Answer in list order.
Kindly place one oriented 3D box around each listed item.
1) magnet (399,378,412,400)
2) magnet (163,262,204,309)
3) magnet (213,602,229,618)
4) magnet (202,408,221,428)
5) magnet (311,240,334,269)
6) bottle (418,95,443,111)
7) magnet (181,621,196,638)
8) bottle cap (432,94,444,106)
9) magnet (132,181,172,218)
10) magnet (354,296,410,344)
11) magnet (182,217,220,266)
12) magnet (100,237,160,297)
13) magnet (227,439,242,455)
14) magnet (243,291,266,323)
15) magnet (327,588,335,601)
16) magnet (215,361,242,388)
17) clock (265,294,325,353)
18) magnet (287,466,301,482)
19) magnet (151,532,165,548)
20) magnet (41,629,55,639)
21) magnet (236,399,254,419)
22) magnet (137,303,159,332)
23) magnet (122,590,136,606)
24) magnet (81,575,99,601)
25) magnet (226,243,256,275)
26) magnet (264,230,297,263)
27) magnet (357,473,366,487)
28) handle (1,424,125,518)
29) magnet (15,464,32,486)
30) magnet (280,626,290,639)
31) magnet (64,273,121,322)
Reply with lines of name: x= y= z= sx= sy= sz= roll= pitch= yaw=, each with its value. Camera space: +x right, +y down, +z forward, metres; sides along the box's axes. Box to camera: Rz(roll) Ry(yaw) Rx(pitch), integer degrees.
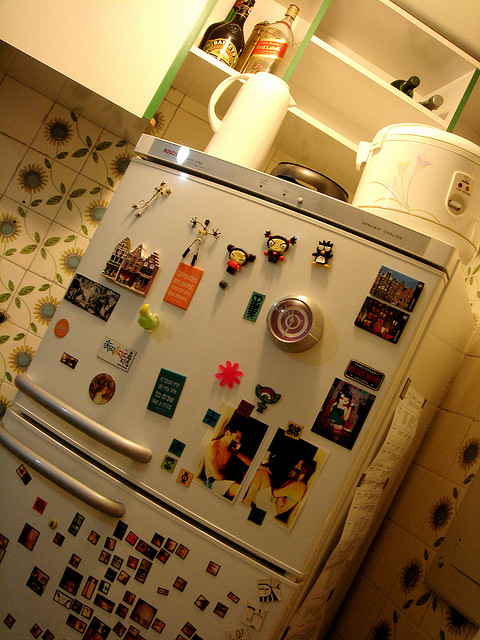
magnet: x=0.287 y=0.119 z=0.828 sx=0.010 sy=0.043 sz=0.029 roll=25 pitch=25 yaw=23
magnet: x=-0.099 y=-0.059 z=0.848 sx=0.052 sy=0.093 sz=0.009 roll=22 pitch=-6 yaw=15
magnet: x=-0.032 y=0.468 z=0.769 sx=0.019 sy=0.020 sz=0.005 roll=32 pitch=5 yaw=10
magnet: x=-0.048 y=0.165 z=0.804 sx=0.023 sy=0.026 sz=0.008 roll=24 pitch=-10 yaw=4
magnet: x=0.139 y=-0.110 z=0.805 sx=0.038 sy=0.055 sz=0.011 roll=9 pitch=-10 yaw=13
bottle: x=0.518 y=-0.601 z=1.314 sx=0.026 sy=0.034 sz=0.092 roll=2 pitch=17 yaw=-6
magnet: x=-0.084 y=0.504 z=0.780 sx=0.020 sy=0.022 sz=0.006 roll=36 pitch=13 yaw=11
bottle cap: x=0.541 y=-0.611 z=1.317 sx=0.032 sy=0.034 sz=0.033 roll=9 pitch=-2 yaw=21
magnet: x=-0.169 y=-0.220 z=0.936 sx=0.027 sy=0.102 sz=0.039 roll=21 pitch=25 yaw=-55
magnet: x=0.233 y=-0.001 z=0.783 sx=0.084 sy=0.070 sz=0.064 roll=5 pitch=11 yaw=23
magnet: x=-0.070 y=-0.140 z=0.857 sx=0.065 sy=0.078 sz=0.011 roll=30 pitch=9 yaw=18
magnet: x=-0.199 y=-0.101 z=0.874 sx=0.088 sy=0.083 sz=0.014 roll=25 pitch=2 yaw=4
magnet: x=-0.010 y=0.210 z=0.790 sx=0.018 sy=0.019 sz=0.005 roll=24 pitch=-10 yaw=1
magnet: x=0.024 y=-0.023 z=0.817 sx=0.024 sy=0.044 sz=0.009 roll=23 pitch=-10 yaw=5
magnet: x=0.179 y=0.548 z=0.949 sx=0.005 sy=0.021 sz=0.022 roll=26 pitch=3 yaw=13
magnet: x=-0.018 y=0.093 z=0.807 sx=0.041 sy=0.043 sz=0.009 roll=-1 pitch=-6 yaw=13
clock: x=0.087 y=0.003 z=0.788 sx=0.086 sy=0.093 sz=0.029 roll=3 pitch=-4 yaw=12
magnet: x=0.089 y=0.249 z=0.771 sx=0.015 sy=0.020 sz=0.010 roll=18 pitch=41 yaw=19
magnet: x=-0.138 y=0.370 z=0.796 sx=0.019 sy=0.020 sz=0.005 roll=21 pitch=6 yaw=17
magnet: x=-0.337 y=0.554 z=0.835 sx=0.016 sy=0.016 sz=0.004 roll=48 pitch=11 yaw=14
magnet: x=0.006 y=0.151 z=0.792 sx=0.026 sy=0.027 sz=0.006 roll=28 pitch=3 yaw=21
magnet: x=-0.161 y=-0.004 z=0.837 sx=0.024 sy=0.023 sz=0.039 roll=43 pitch=-10 yaw=23
magnet: x=-0.186 y=0.468 z=0.801 sx=0.019 sy=0.021 sz=0.005 roll=25 pitch=9 yaw=19
magnet: x=-0.258 y=0.460 z=0.824 sx=0.024 sy=0.041 sz=0.008 roll=18 pitch=-6 yaw=24
magnet: x=0.003 y=-0.105 z=0.827 sx=0.042 sy=0.042 sz=0.007 roll=23 pitch=9 yaw=15
magnet: x=0.070 y=-0.125 z=0.818 sx=0.044 sy=0.045 sz=0.009 roll=17 pitch=-12 yaw=10
magnet: x=0.203 y=0.270 z=0.802 sx=0.003 sy=0.016 sz=0.019 roll=18 pitch=-11 yaw=31
handle: x=-0.302 y=0.245 z=0.878 sx=0.159 sy=0.132 sz=0.209 roll=4 pitch=7 yaw=36
magnet: x=-0.405 y=0.289 z=0.896 sx=0.037 sy=0.026 sz=0.008 roll=55 pitch=24 yaw=14
magnet: x=0.074 y=0.517 z=0.786 sx=0.004 sy=0.015 sz=0.015 roll=18 pitch=-11 yaw=30
magnet: x=-0.274 y=-0.040 z=0.895 sx=0.135 sy=0.064 sz=0.015 roll=29 pitch=-7 yaw=12
